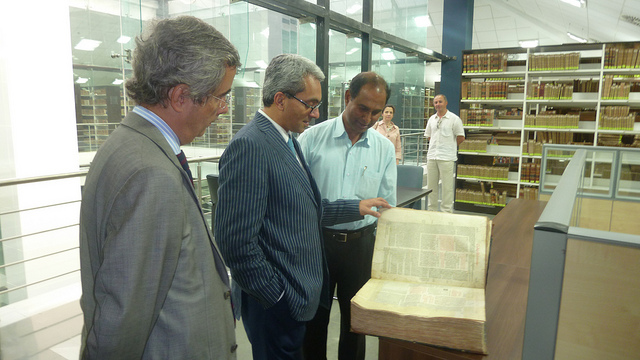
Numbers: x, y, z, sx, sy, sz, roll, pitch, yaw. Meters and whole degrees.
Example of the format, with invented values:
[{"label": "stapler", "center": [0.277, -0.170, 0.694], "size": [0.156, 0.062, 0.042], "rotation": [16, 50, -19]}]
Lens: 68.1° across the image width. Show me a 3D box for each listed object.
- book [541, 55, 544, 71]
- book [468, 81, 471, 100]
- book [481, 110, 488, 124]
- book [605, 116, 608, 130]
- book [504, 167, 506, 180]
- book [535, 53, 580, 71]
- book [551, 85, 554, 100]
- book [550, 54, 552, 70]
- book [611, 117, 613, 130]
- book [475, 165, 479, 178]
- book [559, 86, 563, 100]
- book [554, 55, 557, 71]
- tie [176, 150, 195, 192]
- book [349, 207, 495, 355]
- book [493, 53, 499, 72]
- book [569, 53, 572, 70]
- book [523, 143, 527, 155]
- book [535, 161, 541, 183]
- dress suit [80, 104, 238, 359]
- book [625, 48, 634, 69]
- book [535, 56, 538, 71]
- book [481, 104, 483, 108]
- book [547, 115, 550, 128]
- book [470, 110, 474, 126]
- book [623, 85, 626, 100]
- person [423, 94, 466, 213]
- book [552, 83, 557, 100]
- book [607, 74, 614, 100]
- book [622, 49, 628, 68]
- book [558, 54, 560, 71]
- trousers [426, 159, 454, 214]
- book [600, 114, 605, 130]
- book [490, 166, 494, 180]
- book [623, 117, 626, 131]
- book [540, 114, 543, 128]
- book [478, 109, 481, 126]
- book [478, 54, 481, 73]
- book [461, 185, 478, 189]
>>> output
[{"label": "book", "center": [3.666, -1.919, 7.774], "size": [0.062, 0.242, 0.024], "rotation": [8, 13, 34]}, {"label": "book", "center": [2.653, -1.575, 8.376], "size": [0.041, 0.295, 0.081], "rotation": [-3, 11, -16]}, {"label": "book", "center": [2.863, -1.092, 8.219], "size": [0.044, 0.176, 0.185], "rotation": [5, 3, 9]}, {"label": "book", "center": [4.530, -0.901, 7.473], "size": [0.044, 0.187, 0.009], "rotation": [7, 13, 30]}, {"label": "book", "center": [3.221, -0.121, 8.225], "size": [0.025, 0.180, 0.051], "rotation": [4, 12, 19]}, {"label": "book", "center": [3.837, -1.911, 7.673], "size": [0.643, 0.272, 0.100], "rotation": [7, 13, 29]}, {"label": "book", "center": [3.813, -1.435, 7.743], "size": [0.037, 0.154, 0.161], "rotation": [5, 15, 35]}, {"label": "book", "center": [3.772, -1.917, 7.704], "size": [0.048, 0.230, 0.026], "rotation": [6, 12, 26]}, {"label": "book", "center": [4.602, -0.892, 7.441], "size": [0.029, 0.157, 0.007], "rotation": [3, 11, 14]}, {"label": "book", "center": [2.795, -0.138, 8.392], "size": [0.049, 0.185, 0.198], "rotation": [3, 0, 10]}, {"label": "book", "center": [3.921, -1.406, 7.671], "size": [0.038, 0.200, 0.033], "rotation": [6, 12, 27]}, {"label": "book", "center": [3.825, -1.906, 7.662], "size": [0.054, 0.228, 0.024], "rotation": [8, 13, 33]}, {"label": "tie", "center": [-0.883, -0.063, 3.153], "size": [0.050, 0.209, 0.126], "rotation": [-22, 10, 4]}, {"label": "book", "center": [0.704, 0.677, 3.272], "size": [0.898, 0.878, 0.467], "rotation": [3, 11, 13]}, {"label": "book", "center": [3.056, -2.028, 8.195], "size": [0.112, 0.307, 0.034], "rotation": [5, 12, 21]}, {"label": "book", "center": [4.011, -1.901, 7.567], "size": [0.041, 0.171, 0.178], "rotation": [3, 14, 28]}, {"label": "book", "center": [3.495, -0.536, 8.045], "size": [0.066, 0.194, 0.205], "rotation": [2, 1, 19]}, {"label": "book", "center": [3.638, -0.110, 7.905], "size": [0.060, 0.321, 0.322], "rotation": [6, 12, 25]}, {"label": "dress suit", "center": [-1.010, 0.297, 4.147], "size": [1.376, 2.301, 1.647], "rotation": [-2, 3, -10]}, {"label": "book", "center": [4.804, -1.869, 7.318], "size": [0.084, 0.293, 0.030], "rotation": [3, 11, 16]}, {"label": "book", "center": [3.582, -1.923, 7.811], "size": [0.027, 0.233, 0.055], "rotation": [-6, 13, -30]}, {"label": "book", "center": [2.957, -1.348, 8.621], "size": [0.037, 0.065, 0.066], "rotation": [13, 3, 8]}, {"label": "book", "center": [3.774, -0.960, 7.794], "size": [0.026, 0.194, 0.019], "rotation": [5, 12, 24]}, {"label": "book", "center": [2.687, -1.098, 8.331], "size": [0.050, 0.262, 0.016], "rotation": [6, 13, 28]}, {"label": "book", "center": [4.745, -1.365, 7.364], "size": [0.033, 0.201, 0.009], "rotation": [9, 14, 36]}, {"label": "person", "center": [2.037, -0.416, 7.791], "size": [0.608, 1.908, 0.532], "rotation": [3, 11, 15]}, {"label": "book", "center": [3.854, -1.444, 7.737], "size": [0.041, 0.252, 0.101], "rotation": [8, 13, 34]}, {"label": "book", "center": [4.621, -1.477, 7.510], "size": [0.061, 0.392, 0.221], "rotation": [7, 13, 30]}, {"label": "book", "center": [4.744, -1.885, 7.342], "size": [0.063, 0.275, 0.026], "rotation": [6, 12, 27]}, {"label": "book", "center": [3.863, -1.879, 7.633], "size": [0.035, 0.227, 0.020], "rotation": [5, 12, 22]}, {"label": "trousers", "center": [1.987, 0.103, 7.817], "size": [0.442, 0.878, 0.462], "rotation": [3, 11, 11]}, {"label": "book", "center": [4.487, -0.902, 7.509], "size": [0.039, 0.148, 0.162], "rotation": [11, -14, 20]}, {"label": "book", "center": [3.023, -0.111, 8.300], "size": [0.048, 0.197, 0.206], "rotation": [6, 3, 15]}, {"label": "book", "center": [4.765, -0.875, 7.381], "size": [0.049, 0.194, 0.015], "rotation": [4, 12, 20]}, {"label": "book", "center": [3.678, -0.972, 7.852], "size": [0.045, 0.205, 0.038], "rotation": [5, 12, 24]}, {"label": "book", "center": [2.791, -1.082, 8.260], "size": [0.029, 0.271, 0.032], "rotation": [-3, 12, -18]}, {"label": "book", "center": [2.815, -2.057, 8.337], "size": [0.056, 0.215, 0.227], "rotation": [5, 30, 14]}, {"label": "book", "center": [2.722, 0.126, 8.582], "size": [0.286, 0.055, 0.032], "rotation": [6, 13, 28]}]
